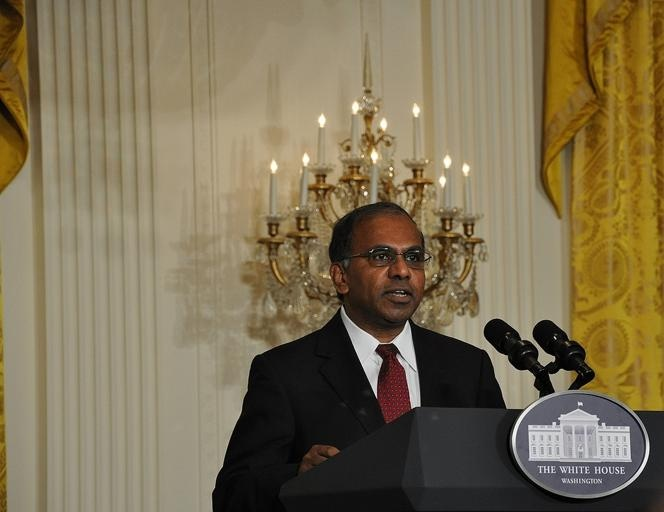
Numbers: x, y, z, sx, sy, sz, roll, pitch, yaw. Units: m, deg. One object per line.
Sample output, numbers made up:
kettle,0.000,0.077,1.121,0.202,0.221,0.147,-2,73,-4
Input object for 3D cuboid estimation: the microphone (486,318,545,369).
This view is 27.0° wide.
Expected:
microphone,0.683,0.332,5.146,0.113,0.118,0.419,-23,-3,9

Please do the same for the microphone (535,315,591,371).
microphone,0.853,0.327,5.008,0.210,0.207,0.143,-13,-8,42

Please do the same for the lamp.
lamp,0.159,-0.393,7.119,1.328,1.838,1.375,-1,-12,-1

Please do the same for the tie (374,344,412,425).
tie,0.243,0.517,5.613,0.140,0.318,0.128,-6,-6,-8
